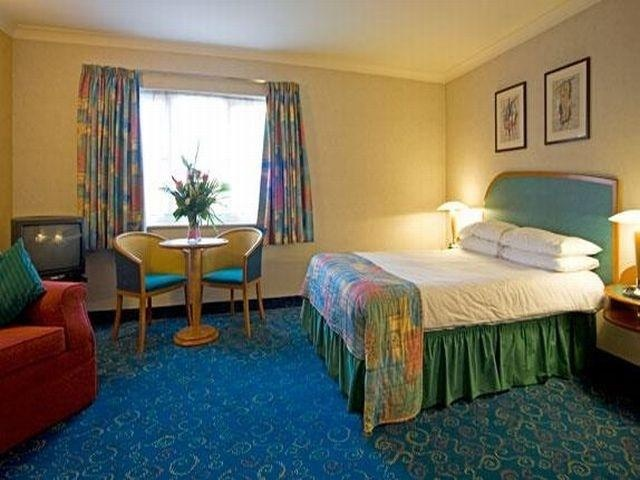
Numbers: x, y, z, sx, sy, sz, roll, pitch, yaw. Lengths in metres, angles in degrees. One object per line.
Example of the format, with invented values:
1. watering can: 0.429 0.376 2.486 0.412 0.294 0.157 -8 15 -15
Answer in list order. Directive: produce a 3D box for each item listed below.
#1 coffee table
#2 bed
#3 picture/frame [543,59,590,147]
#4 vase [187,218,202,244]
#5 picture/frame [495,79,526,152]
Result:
1. coffee table: -1.137 0.497 5.094 0.827 1.301 0.931 2 6 9
2. bed: 1.224 0.365 4.708 2.371 1.997 1.953 -1 1 -15
3. picture/frame: 2.409 -1.344 4.626 0.118 0.795 0.572 -5 15 -20
4. vase: -1.267 -0.091 4.753 0.125 0.227 0.250 -4 15 -17
5. picture/frame: 2.103 -1.345 5.219 0.128 0.748 0.524 -3 14 -14
